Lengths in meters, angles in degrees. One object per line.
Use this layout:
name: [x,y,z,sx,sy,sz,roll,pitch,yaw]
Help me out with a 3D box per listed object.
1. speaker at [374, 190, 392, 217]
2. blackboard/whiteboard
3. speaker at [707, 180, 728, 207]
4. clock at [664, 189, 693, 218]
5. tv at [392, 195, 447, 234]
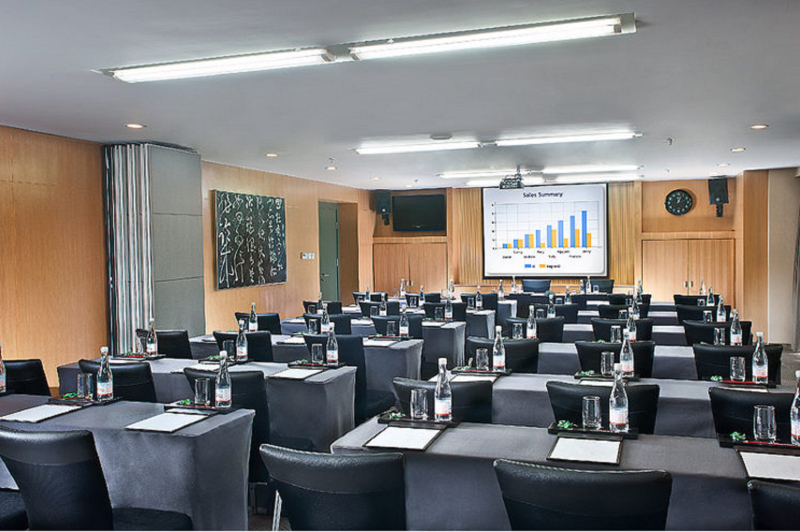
speaker: [-0.456,-1.588,14.722,0.441,0.563,0.254,-3,1,5]
blackboard/whiteboard: [-2.759,-0.458,10.260,0.195,1.391,1.869,0,3,19]
speaker: [6.890,-1.587,12.362,0.480,0.592,0.319,-3,1,5]
clock: [6.334,-1.406,13.139,0.584,0.592,0.579,-3,0,10]
tv: [0.508,-1.303,14.772,1.378,0.897,0.101,-3,1,13]
